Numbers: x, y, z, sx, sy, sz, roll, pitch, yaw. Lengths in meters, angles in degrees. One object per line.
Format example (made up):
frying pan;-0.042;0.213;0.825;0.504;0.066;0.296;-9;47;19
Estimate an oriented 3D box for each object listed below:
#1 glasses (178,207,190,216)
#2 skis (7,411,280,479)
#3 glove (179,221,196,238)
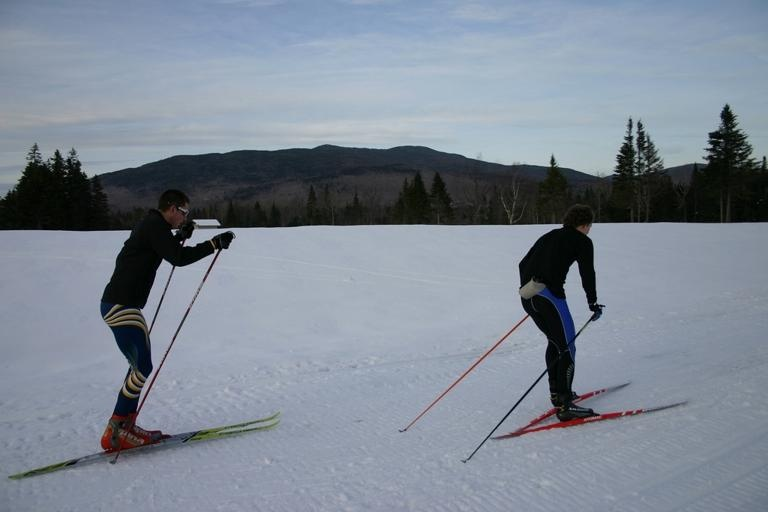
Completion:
glasses;-2.582;-0.581;7.846;0.123;0.037;0.124;25;2;7
skis;-3.057;2.422;7.697;2.564;0.183;0.268;-10;-5;-14
glove;-2.691;-0.342;8.225;0.108;0.276;0.193;26;17;-44
